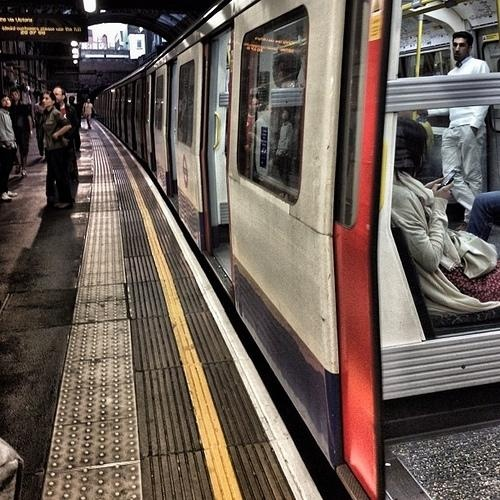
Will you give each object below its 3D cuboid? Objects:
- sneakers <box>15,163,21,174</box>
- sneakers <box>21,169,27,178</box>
[{"bbox_3d":[-6.675,-2.328,11.924,0.140,0.108,0.479,-6,55,-21],"label":"sneakers"},{"bbox_3d":[-6.353,-2.129,11.623,0.132,0.215,0.486,-5,10,-23],"label":"sneakers"}]
